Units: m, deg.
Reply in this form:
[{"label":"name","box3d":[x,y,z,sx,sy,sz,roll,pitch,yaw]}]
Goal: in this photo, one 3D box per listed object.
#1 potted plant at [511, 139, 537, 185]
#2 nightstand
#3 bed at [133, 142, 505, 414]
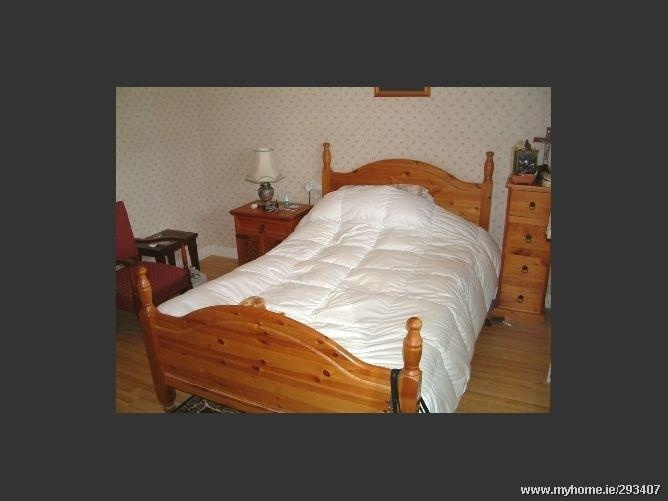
[{"label":"potted plant","box3d":[1.320,-0.608,3.581,0.169,0.274,0.211,4,19,19]},{"label":"nightstand","box3d":[-0.546,-0.283,4.748,0.639,0.828,0.559,8,21,22]},{"label":"bed","box3d":[0.114,0.319,3.267,1.509,1.298,2.239,7,22,21]}]
